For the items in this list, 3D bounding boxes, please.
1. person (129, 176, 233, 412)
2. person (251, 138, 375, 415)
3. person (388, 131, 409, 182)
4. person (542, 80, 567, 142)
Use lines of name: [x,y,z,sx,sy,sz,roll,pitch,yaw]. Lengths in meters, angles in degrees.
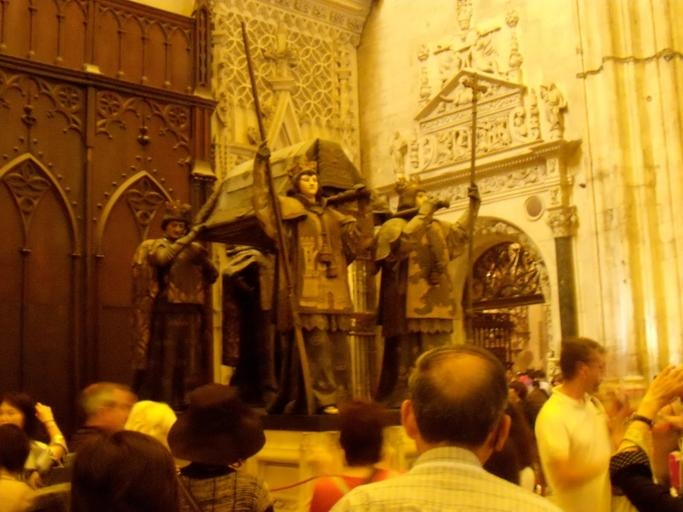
person: [-1.501,0.375,6.252,0.765,1.965,0.718,2,-4,-22]
person: [-0.150,0.076,5.238,0.735,2.131,0.995,-1,-4,25]
person: [0.959,-1.709,11.505,0.235,0.869,0.446,1,-4,-7]
person: [3.032,-2.075,9.860,0.242,0.875,0.365,2,-4,-28]
